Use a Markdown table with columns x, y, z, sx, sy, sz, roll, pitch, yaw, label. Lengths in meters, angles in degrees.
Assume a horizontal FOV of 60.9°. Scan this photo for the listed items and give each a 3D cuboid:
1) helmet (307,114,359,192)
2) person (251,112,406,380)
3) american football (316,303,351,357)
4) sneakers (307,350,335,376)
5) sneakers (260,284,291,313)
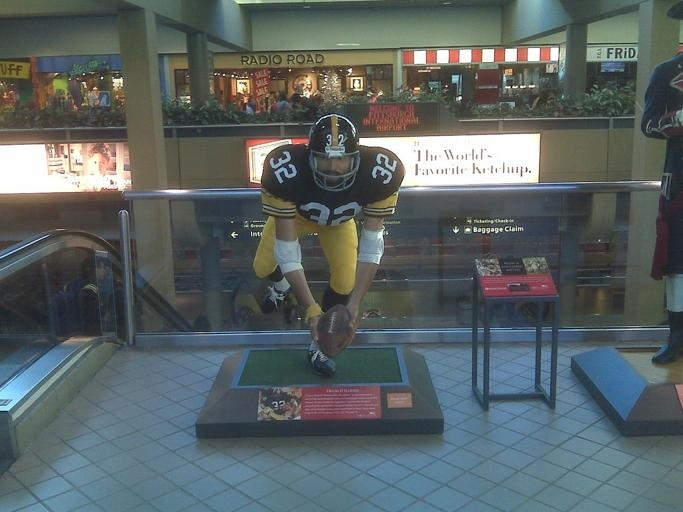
| x | y | z | sx | sy | sz | roll | pitch | yaw | label |
| --- | --- | --- | --- | --- | --- | --- | --- | --- | --- |
| -0.047 | -0.689 | 3.744 | 0.317 | 0.385 | 0.461 | 0 | 48 | -3 | helmet |
| -0.186 | -0.113 | 4.195 | 0.803 | 1.753 | 1.079 | -18 | 21 | -41 | person |
| -0.041 | 0.486 | 3.840 | 0.189 | 0.309 | 0.226 | 20 | -12 | -42 | american football |
| -0.136 | 0.764 | 4.170 | 0.107 | 0.092 | 0.222 | -2 | 36 | -50 | sneakers |
| -0.584 | 0.387 | 5.118 | 0.201 | 0.143 | 0.407 | -32 | -5 | -34 | sneakers |
